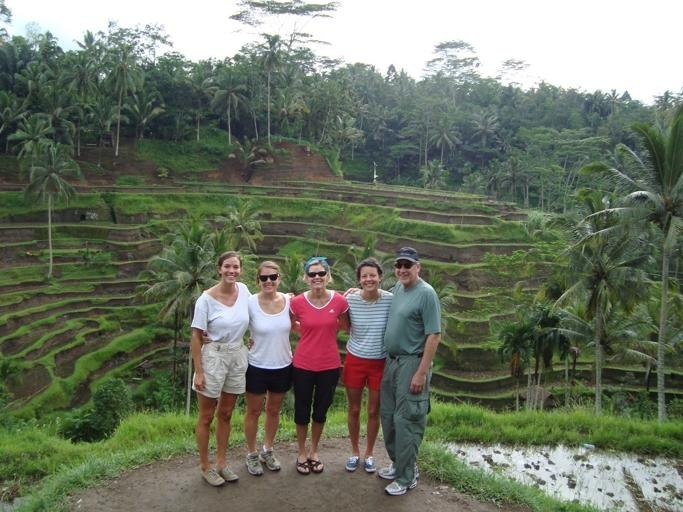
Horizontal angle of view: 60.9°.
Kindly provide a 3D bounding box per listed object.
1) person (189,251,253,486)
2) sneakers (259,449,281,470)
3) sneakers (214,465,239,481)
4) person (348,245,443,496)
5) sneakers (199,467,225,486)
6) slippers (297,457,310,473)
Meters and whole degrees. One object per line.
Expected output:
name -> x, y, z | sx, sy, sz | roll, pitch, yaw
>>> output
person -> -2.151, 1.938, 10.249 | 0.970, 4.059, 0.633 | 2, 4, -11
sneakers -> -1.279, 3.670, 10.538 | 0.226, 0.259, 0.500 | 0, 5, -37
sneakers -> -2.013, 3.822, 10.252 | 0.170, 0.197, 0.457 | 6, -3, -40
person -> 1.164, 2.006, 10.230 | 0.951, 4.245, 0.630 | 5, 4, 23
sneakers -> -2.249, 3.853, 10.163 | 0.176, 0.207, 0.485 | -10, 4, -38
slippers -> -0.688, 3.740, 10.428 | 0.208, 0.209, 0.560 | 1, -4, -4
